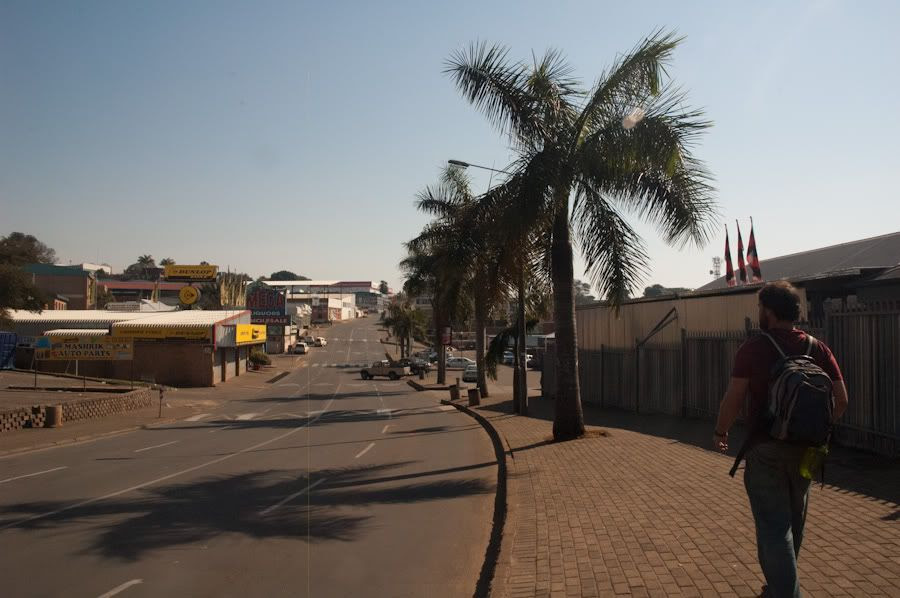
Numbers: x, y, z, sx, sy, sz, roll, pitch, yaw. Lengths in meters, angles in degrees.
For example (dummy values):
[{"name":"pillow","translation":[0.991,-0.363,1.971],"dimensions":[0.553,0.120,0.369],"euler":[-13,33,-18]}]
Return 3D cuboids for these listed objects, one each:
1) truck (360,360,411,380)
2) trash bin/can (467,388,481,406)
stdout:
[{"name":"truck","translation":[-5.799,6.187,58.994],"dimensions":[3.483,1.489,1.933],"euler":[2,-4,3]},{"name":"trash bin/can","translation":[0.921,4.343,29.899],"dimensions":[0.677,0.718,1.235],"euler":[4,1,-3]}]
